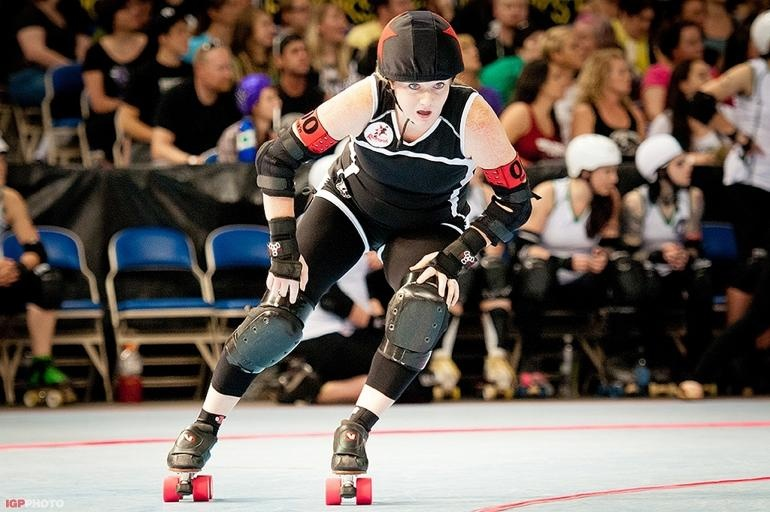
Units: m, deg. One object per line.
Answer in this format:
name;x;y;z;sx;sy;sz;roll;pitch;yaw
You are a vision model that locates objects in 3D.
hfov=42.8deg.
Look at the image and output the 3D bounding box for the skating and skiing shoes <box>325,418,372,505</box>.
skating and skiing shoes;-0.196;1.151;5.489;0.267;0.462;0.194;1;-7;-2
